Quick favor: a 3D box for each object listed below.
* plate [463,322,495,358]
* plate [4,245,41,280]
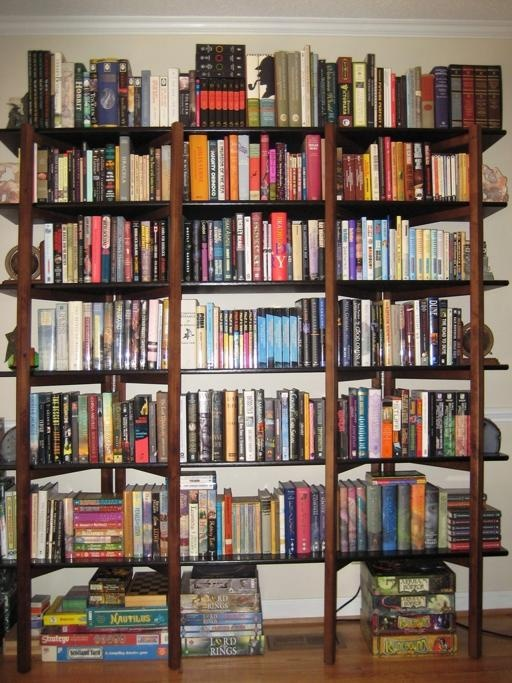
[{"bbox_3d":[0.936,-0.003,3.881,0.123,0.140,0.034,2,-4,-6],"label":"plate"},{"bbox_3d":[-1.010,-0.325,3.905,0.139,0.158,0.035,2,0,22],"label":"plate"}]
